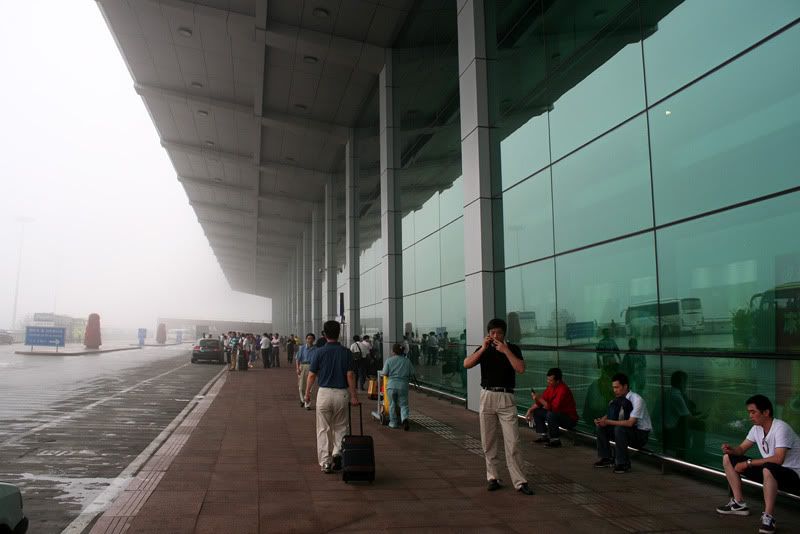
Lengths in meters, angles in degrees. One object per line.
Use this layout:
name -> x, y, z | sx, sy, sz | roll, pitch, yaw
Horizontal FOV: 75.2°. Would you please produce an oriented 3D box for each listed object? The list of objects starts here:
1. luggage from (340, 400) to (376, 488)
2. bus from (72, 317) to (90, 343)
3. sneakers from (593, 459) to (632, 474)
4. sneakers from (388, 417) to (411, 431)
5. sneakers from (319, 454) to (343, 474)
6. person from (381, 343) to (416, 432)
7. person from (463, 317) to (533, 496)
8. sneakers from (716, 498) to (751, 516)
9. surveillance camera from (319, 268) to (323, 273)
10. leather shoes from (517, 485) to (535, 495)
luggage -> -0.665, 2.712, 8.156 | 0.521, 1.270, 0.503 | 8, -30, -20
bus -> -54.085, 10.307, 87.198 | 1.692, 3.932, 18.130 | 6, -10, -31
sneakers -> 3.577, 3.337, 8.696 | 0.612, 0.248, 0.222 | -4, -4, 14
sneakers -> -0.007, 3.648, 12.085 | 0.409, 0.136, 0.269 | 5, -1, 9
sneakers -> -1.098, 3.194, 8.416 | 0.220, 0.238, 0.560 | 7, -22, -12
person -> -0.033, 2.742, 11.981 | 0.729, 1.953, 1.506 | 1, -8, 1
person -> 1.471, 2.012, 7.619 | 0.835, 2.485, 0.780 | -1, -8, 14
sneakers -> 4.399, 3.181, 6.919 | 0.448, 0.202, 0.166 | -4, -7, 22
surveillance camera -> -5.591, 0.163, 36.928 | 0.226, 0.305, 0.575 | 1, -8, 4
leather shoes -> 1.810, 3.199, 7.450 | 0.120, 0.113, 0.263 | 3, -18, -15
